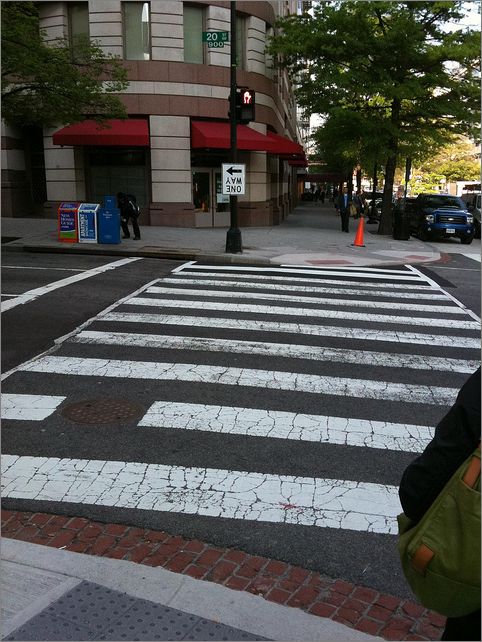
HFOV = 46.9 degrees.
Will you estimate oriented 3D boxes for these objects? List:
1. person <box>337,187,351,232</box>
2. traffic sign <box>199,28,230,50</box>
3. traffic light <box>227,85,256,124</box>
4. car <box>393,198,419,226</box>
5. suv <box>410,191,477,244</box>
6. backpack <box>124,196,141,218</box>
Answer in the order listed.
[{"bbox_3d":[4.780,-5.128,25.320,0.614,2.013,0.644,7,24,24],"label":"person"},{"bbox_3d":[-0.742,-8.506,16.624,0.544,0.454,1.328,-1,13,-13],"label":"traffic sign"},{"bbox_3d":[0.082,-6.143,15.723,0.661,0.960,0.689,-4,13,-25],"label":"traffic light"},{"bbox_3d":[7.790,-5.465,26.087,1.245,1.230,2.340,3,31,13],"label":"car"},{"bbox_3d":[9.223,-4.735,25.409,2.182,2.132,2.893,2,12,2],"label":"suv"},{"bbox_3d":[-3.581,-3.819,18.464,0.214,0.649,0.465,-20,10,11],"label":"backpack"}]
